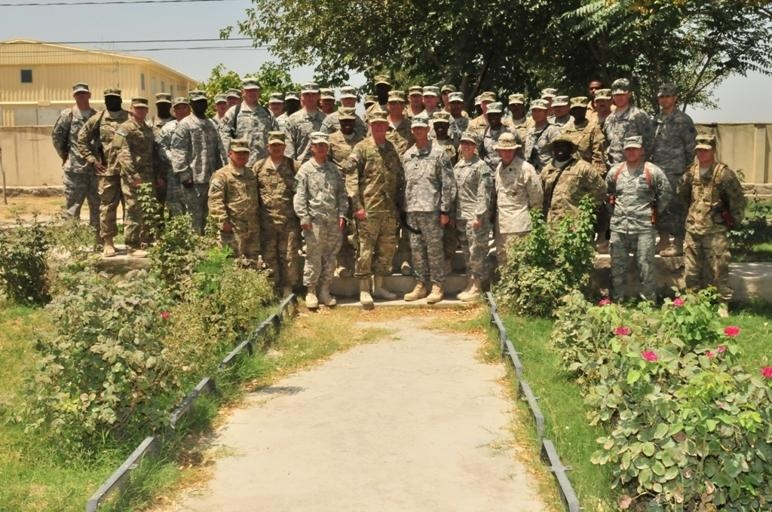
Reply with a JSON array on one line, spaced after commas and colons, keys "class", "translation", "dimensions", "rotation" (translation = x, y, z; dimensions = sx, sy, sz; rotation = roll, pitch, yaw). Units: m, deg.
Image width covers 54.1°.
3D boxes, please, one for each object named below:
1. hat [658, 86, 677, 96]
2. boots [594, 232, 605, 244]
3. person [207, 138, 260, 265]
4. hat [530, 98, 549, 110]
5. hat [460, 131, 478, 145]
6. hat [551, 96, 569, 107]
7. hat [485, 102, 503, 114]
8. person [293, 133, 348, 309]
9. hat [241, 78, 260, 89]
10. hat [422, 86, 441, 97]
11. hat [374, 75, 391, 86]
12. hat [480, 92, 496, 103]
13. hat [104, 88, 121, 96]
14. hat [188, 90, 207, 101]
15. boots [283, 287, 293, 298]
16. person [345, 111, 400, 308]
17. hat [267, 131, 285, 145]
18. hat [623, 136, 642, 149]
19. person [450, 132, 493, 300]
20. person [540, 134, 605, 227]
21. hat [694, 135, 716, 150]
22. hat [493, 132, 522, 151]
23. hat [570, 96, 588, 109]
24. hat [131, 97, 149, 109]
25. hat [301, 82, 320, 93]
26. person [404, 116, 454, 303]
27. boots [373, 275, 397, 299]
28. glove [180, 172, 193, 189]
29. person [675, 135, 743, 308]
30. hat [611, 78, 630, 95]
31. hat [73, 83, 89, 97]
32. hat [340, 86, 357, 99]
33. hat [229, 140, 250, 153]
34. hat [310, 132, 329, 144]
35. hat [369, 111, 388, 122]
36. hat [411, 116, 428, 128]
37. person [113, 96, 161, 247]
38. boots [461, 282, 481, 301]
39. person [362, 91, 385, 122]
[{"class": "hat", "translation": [5.083, -2.984, 13.631], "dimensions": [0.272, 0.245, 0.272], "rotation": [0, 5, 18]}, {"class": "boots", "translation": [4.082, -0.328, 14.282], "dimensions": [0.258, 0.179, 0.259], "rotation": [5, -7, -42]}, {"class": "person", "translation": [-2.658, -0.696, 13.262], "dimensions": [0.879, 1.821, 0.348], "rotation": [-3, 5, -26]}, {"class": "hat", "translation": [2.768, -2.735, 13.623], "dimensions": [0.267, 0.204, 0.297], "rotation": [-1, 4, 5]}, {"class": "hat", "translation": [1.472, -2.071, 13.314], "dimensions": [0.294, 0.235, 0.255], "rotation": [-1, 4, -2]}, {"class": "hat", "translation": [3.299, -2.905, 14.112], "dimensions": [0.209, 0.086, 0.302], "rotation": [-2, 20, 33]}, {"class": "hat", "translation": [1.979, -2.690, 13.773], "dimensions": [0.284, 0.230, 0.351], "rotation": [-1, 4, 4]}, {"class": "person", "translation": [-1.164, -0.600, 13.404], "dimensions": [0.945, 3.118, 0.517], "rotation": [-2, 5, -8]}, {"class": "hat", "translation": [-2.504, -3.197, 13.937], "dimensions": [0.293, 0.250, 0.608], "rotation": [-2, 4, -10]}, {"class": "hat", "translation": [0.838, -3.099, 14.219], "dimensions": [0.281, 0.233, 0.523], "rotation": [-1, 4, 5]}, {"class": "hat", "translation": [-0.065, -3.438, 14.744], "dimensions": [0.254, 0.225, 0.362], "rotation": [-1, 4, -4]}, {"class": "hat", "translation": [2.004, -3.120, 14.915], "dimensions": [0.393, 0.152, 0.535], "rotation": [1, 6, 8]}, {"class": "hat", "translation": [-5.234, -3.117, 14.421], "dimensions": [0.291, 0.201, 0.459], "rotation": [-3, 5, -22]}, {"class": "hat", "translation": [-3.534, -3.004, 14.145], "dimensions": [0.306, 0.224, 0.342], "rotation": [-2, 5, -16]}, {"class": "boots", "translation": [-1.786, 0.682, 13.710], "dimensions": [0.191, 0.166, 0.180], "rotation": [-1, -12, 0]}, {"class": "person", "translation": [-0.145, -0.835, 13.722], "dimensions": [1.067, 3.509, 0.583], "rotation": [-4, 6, -28]}, {"class": "hat", "translation": [-1.928, -2.068, 13.265], "dimensions": [0.353, 0.139, 0.502], "rotation": [0, 6, -6]}, {"class": "hat", "translation": [4.084, -1.858, 12.446], "dimensions": [0.272, 0.203, 0.313], "rotation": [0, 4, 11]}, {"class": "person", "translation": [1.561, -0.662, 13.507], "dimensions": [0.668, 2.996, 0.517], "rotation": [0, 5, 8]}, {"class": "person", "translation": [3.225, -1.329, 13.065], "dimensions": [1.111, 1.461, 0.534], "rotation": [0, 5, 16]}, {"class": "hat", "translation": [5.300, -1.885, 12.492], "dimensions": [0.297, 0.270, 0.300], "rotation": [0, 5, 18]}, {"class": "hat", "translation": [2.112, -1.975, 13.218], "dimensions": [0.418, 0.187, 0.406], "rotation": [1, 7, 4]}, {"class": "hat", "translation": [3.544, -2.798, 13.820], "dimensions": [0.313, 0.236, 0.453], "rotation": [0, 4, 14]}, {"class": "hat", "translation": [-4.632, -2.881, 14.197], "dimensions": [0.268, 0.213, 0.413], "rotation": [-3, 5, -22]}, {"class": "hat", "translation": [-1.448, -3.151, 14.272], "dimensions": [0.302, 0.207, 0.419], "rotation": [-2, 4, -8]}, {"class": "person", "translation": [0.777, -0.778, 13.582], "dimensions": [0.933, 3.314, 0.511], "rotation": [-1, 5, 1]}, {"class": "boots", "translation": [-0.069, 0.616, 14.159], "dimensions": [0.604, 0.524, 0.274], "rotation": [-2, 10, -2]}, {"class": "glove", "translation": [-3.681, -1.389, 14.039], "dimensions": [0.264, 0.251, 0.244], "rotation": [-21, -44, 12]}, {"class": "person", "translation": [5.427, -0.605, 12.611], "dimensions": [1.017, 2.763, 0.396], "rotation": [1, 5, 22]}, {"class": "hat", "translation": [4.239, -3.013, 13.554], "dimensions": [0.377, 0.257, 0.518], "rotation": [-3, 15, 31]}, {"class": "hat", "translation": [-5.967, -3.285, 14.723], "dimensions": [0.329, 0.160, 0.455], "rotation": [-8, 6, -13]}, {"class": "hat", "translation": [-0.693, -3.011, 13.855], "dimensions": [0.276, 0.243, 0.410], "rotation": [-1, 4, -6]}, {"class": "hat", "translation": [-2.518, -1.877, 12.943], "dimensions": [0.351, 0.153, 0.477], "rotation": [0, 6, -12]}, {"class": "hat", "translation": [-1.162, -2.052, 13.163], "dimensions": [0.281, 0.203, 0.279], "rotation": [-2, 4, -8]}, {"class": "hat", "translation": [-0.140, -2.476, 13.499], "dimensions": [0.313, 0.226, 0.394], "rotation": [-1, 4, -3]}, {"class": "hat", "translation": [0.601, -2.347, 13.320], "dimensions": [0.295, 0.186, 0.272], "rotation": [-1, 4, -3]}, {"class": "person", "translation": [-4.719, -1.521, 14.338], "dimensions": [0.801, 2.917, 0.584], "rotation": [-4, 6, -30]}, {"class": "boots", "translation": [1.539, 0.678, 13.617], "dimensions": [0.452, 0.388, 0.227], "rotation": [0, 1, -5]}, {"class": "person", "translation": [-0.207, -2.853, 14.514], "dimensions": [0.475, 0.483, 0.740], "rotation": [0, 8, 1]}]
